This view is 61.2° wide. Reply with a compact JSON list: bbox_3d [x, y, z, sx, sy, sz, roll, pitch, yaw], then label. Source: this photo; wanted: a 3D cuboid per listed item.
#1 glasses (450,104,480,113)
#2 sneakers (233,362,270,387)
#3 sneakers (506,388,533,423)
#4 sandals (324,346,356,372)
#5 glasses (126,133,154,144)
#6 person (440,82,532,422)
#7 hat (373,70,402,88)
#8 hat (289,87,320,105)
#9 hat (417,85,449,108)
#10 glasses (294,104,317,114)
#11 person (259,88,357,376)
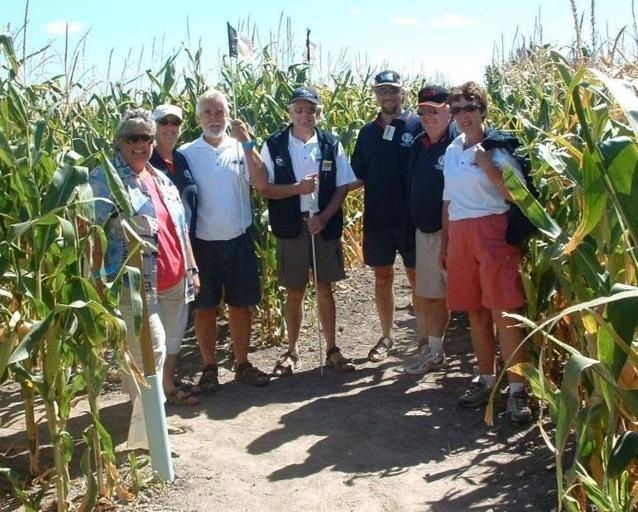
[{"bbox_3d":[1.029,-1.032,3.803,0.194,0.070,0.053,1,8,11],"label":"glasses"},{"bbox_3d":[-0.586,1.036,4.771,0.292,0.136,0.155,5,13,40],"label":"sneakers"},{"bbox_3d":[1.384,1.046,3.732,0.157,0.208,0.200,2,8,19],"label":"sneakers"},{"bbox_3d":[0.193,0.964,4.995,0.127,0.168,0.351,-2,1,-27],"label":"sandals"},{"bbox_3d":[-1.189,-0.774,3.581,0.176,0.061,0.052,-5,9,-24],"label":"glasses"},{"bbox_3d":[1.222,-0.047,3.920,0.833,2.373,0.467,6,10,44],"label":"person"},{"bbox_3d":[0.613,-1.581,4.828,0.233,0.154,0.162,0,8,7],"label":"hat"},{"bbox_3d":[-0.123,-1.399,4.718,0.244,0.179,0.253,-2,8,-4],"label":"hat"},{"bbox_3d":[0.928,-1.262,4.426,0.196,0.158,0.274,3,-4,39],"label":"hat"},{"bbox_3d":[-0.120,-1.265,4.659,0.195,0.078,0.056,-3,8,-12],"label":"glasses"},{"bbox_3d":[-0.092,-0.188,4.854,0.812,2.568,0.451,-2,7,-6],"label":"person"}]
